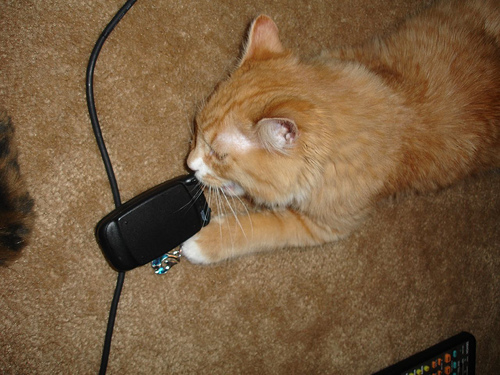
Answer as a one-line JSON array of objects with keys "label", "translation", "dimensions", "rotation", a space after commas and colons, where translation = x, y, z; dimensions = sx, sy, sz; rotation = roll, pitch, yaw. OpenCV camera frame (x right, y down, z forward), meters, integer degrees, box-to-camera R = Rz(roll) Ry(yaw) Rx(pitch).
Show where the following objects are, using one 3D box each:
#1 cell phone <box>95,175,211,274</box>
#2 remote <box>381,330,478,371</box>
[{"label": "cell phone", "translation": [-0.273, 0.102, 1.445], "dimensions": [0.306, 0.125, 0.148], "rotation": [-29, 85, -4]}, {"label": "remote", "translation": [0.591, 0.552, 1.676], "dimensions": [0.306, 0.091, 0.117], "rotation": [-6, 83, -2]}]
